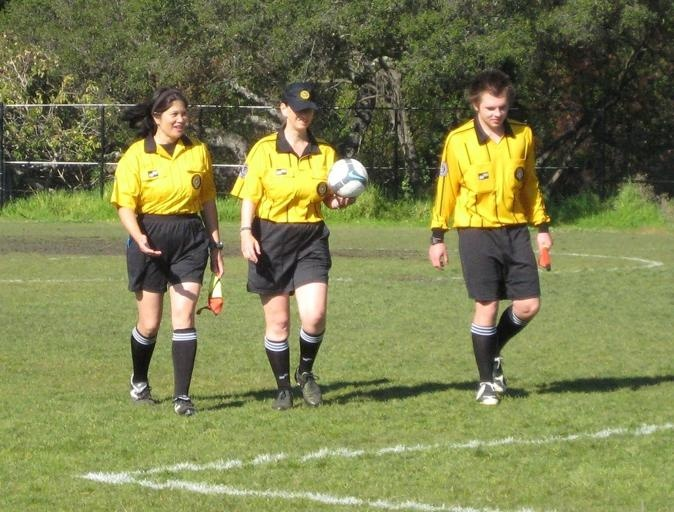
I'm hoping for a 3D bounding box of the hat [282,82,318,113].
[{"bbox_3d":[-0.317,-1.333,8.682,0.278,0.229,0.241,0,9,-3],"label":"hat"}]

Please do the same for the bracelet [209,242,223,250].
[{"bbox_3d":[-1.034,-0.087,8.909,0.086,0.063,0.093,-2,-4,35],"label":"bracelet"}]

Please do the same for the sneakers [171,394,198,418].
[{"bbox_3d":[-1.283,1.248,8.705,0.191,0.152,0.163,0,9,-7],"label":"sneakers"}]

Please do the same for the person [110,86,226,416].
[{"bbox_3d":[-1.424,-0.052,8.744,0.911,2.700,0.632,-1,8,-12],"label":"person"}]

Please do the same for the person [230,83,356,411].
[{"bbox_3d":[-0.402,-0.081,8.797,0.882,2.751,0.394,0,8,-6],"label":"person"}]

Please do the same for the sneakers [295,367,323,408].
[{"bbox_3d":[-0.224,1.134,9.050,0.131,0.150,0.376,-10,50,-31],"label":"sneakers"}]

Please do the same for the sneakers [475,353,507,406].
[{"bbox_3d":[1.361,1.116,9.155,0.158,0.250,0.545,3,15,8],"label":"sneakers"}]

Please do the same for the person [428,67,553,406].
[{"bbox_3d":[1.328,-0.164,8.930,1.016,2.835,0.456,2,8,9],"label":"person"}]
